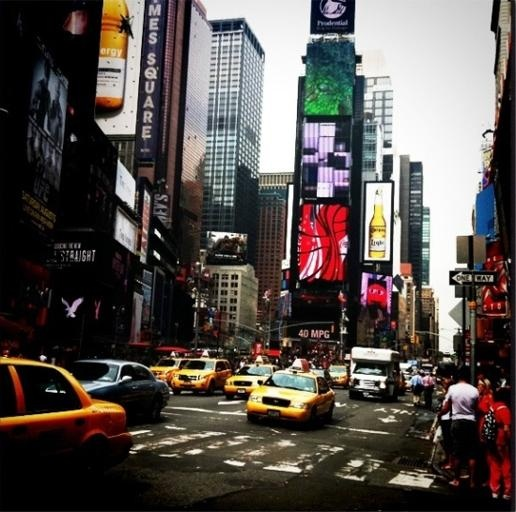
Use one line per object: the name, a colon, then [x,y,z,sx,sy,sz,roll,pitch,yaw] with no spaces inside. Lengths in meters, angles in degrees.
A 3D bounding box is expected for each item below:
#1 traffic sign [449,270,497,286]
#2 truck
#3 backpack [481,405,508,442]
traffic sign: [5.265,0.535,13.316,1.124,0.424,0.700,5,-9,-14]
truck: [7.192,7.254,33.844,2.256,2.502,4.254,-1,-11,13]
backpack: [3.802,2.711,8.785,0.220,0.641,0.592,3,-9,-7]
